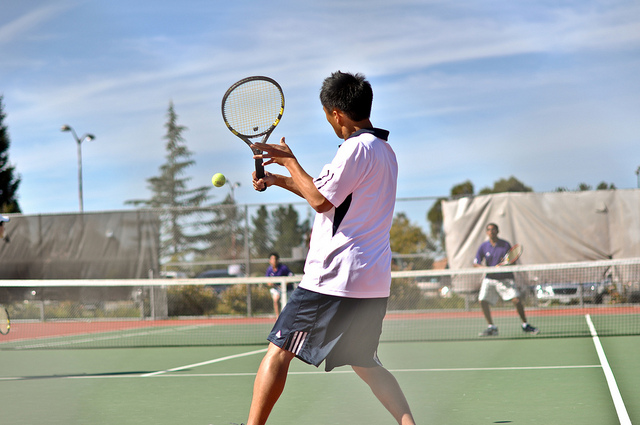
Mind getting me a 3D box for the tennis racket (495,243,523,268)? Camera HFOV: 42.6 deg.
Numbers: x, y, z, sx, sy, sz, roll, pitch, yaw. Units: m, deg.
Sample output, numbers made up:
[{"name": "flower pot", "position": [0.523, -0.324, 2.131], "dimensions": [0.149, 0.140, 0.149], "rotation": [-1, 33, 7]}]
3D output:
[{"name": "tennis racket", "position": [3.588, 0.840, 15.469], "dimensions": [0.798, 0.311, 0.112], "rotation": [-37, -10, -41]}]
